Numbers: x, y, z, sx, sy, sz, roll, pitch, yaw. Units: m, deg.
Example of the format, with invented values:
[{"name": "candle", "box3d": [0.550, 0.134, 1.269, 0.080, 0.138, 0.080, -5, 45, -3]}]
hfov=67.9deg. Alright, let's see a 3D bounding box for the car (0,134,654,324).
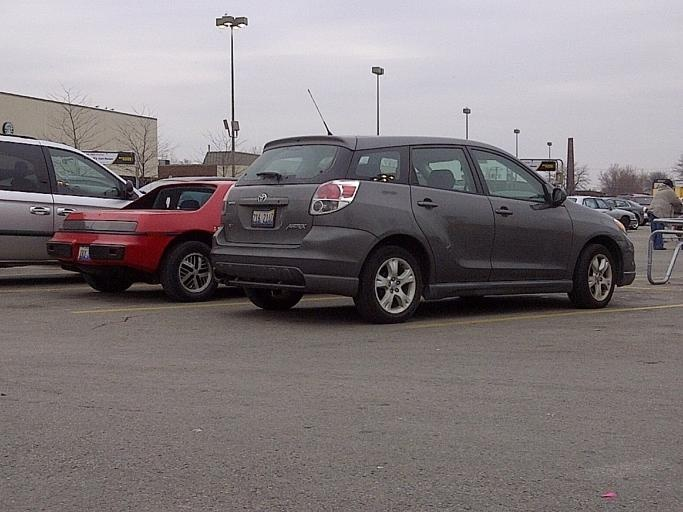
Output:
[{"name": "car", "box3d": [1.241, -0.441, 7.487, 5.595, 2.587, 1.329, -1, 3, -23]}]
